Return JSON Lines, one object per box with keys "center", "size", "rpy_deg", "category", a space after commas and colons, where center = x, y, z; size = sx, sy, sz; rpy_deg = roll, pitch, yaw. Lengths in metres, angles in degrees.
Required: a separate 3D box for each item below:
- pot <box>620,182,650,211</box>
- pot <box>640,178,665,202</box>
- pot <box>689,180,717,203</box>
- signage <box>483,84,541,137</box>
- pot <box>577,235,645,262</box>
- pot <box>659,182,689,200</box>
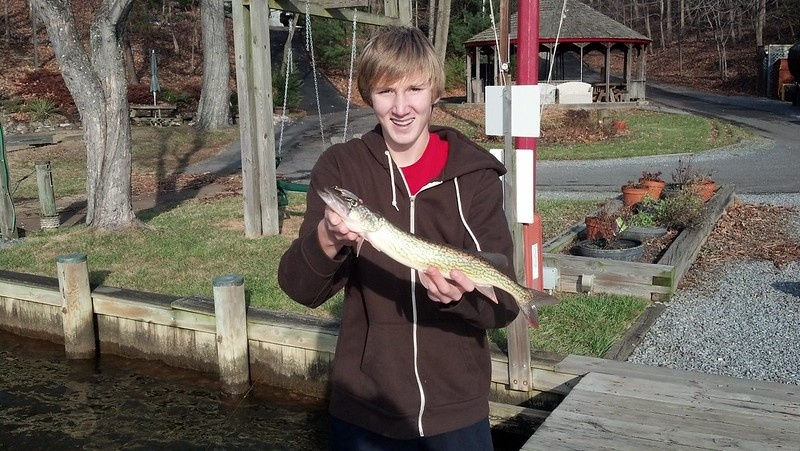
{"center": [4.970, -0.633, 14.377], "size": [0.657, 0.472, 0.649], "rpy_deg": [-1, 8, 0], "category": "pot"}
{"center": [5.408, -0.748, 14.536], "size": [0.459, 0.350, 0.453], "rpy_deg": [0, 8, 0], "category": "pot"}
{"center": [6.341, -0.753, 14.232], "size": [0.592, 0.417, 0.600], "rpy_deg": [-2, -1, 0], "category": "pot"}
{"center": [1.443, -1.459, 8.688], "size": [0.702, 0.629, 0.054], "rpy_deg": [2, 4, 14], "category": "signage"}
{"center": [3.712, 0.407, 11.991], "size": [1.132, 0.324, 0.657], "rpy_deg": [1, 15, 2], "category": "pot"}
{"center": [5.958, -0.789, 14.801], "size": [0.472, 0.304, 0.408], "rpy_deg": [1, 17, 9], "category": "pot"}
